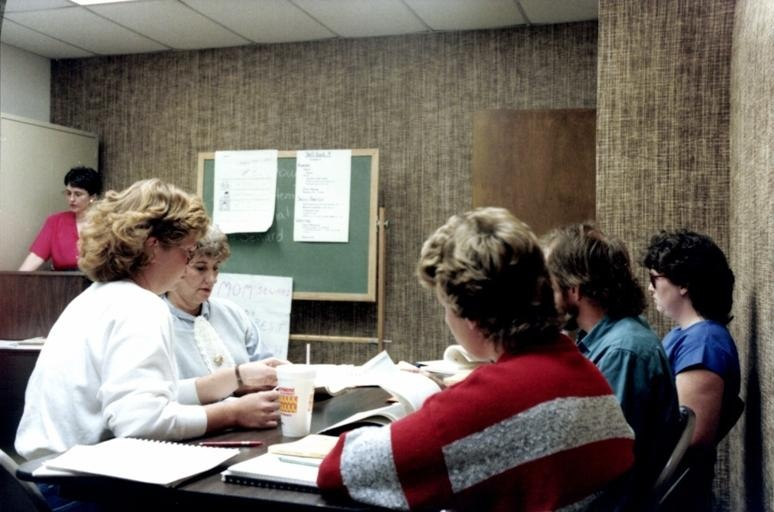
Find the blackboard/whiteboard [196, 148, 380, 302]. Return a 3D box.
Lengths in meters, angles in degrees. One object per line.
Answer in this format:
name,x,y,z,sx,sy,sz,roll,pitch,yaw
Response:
blackboard/whiteboard,-0.592,-0.177,4.473,1.097,0.830,0.149,2,1,15

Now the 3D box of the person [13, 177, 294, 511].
person,-0.958,0.231,2.888,1.138,1.315,0.999,-2,4,-29
